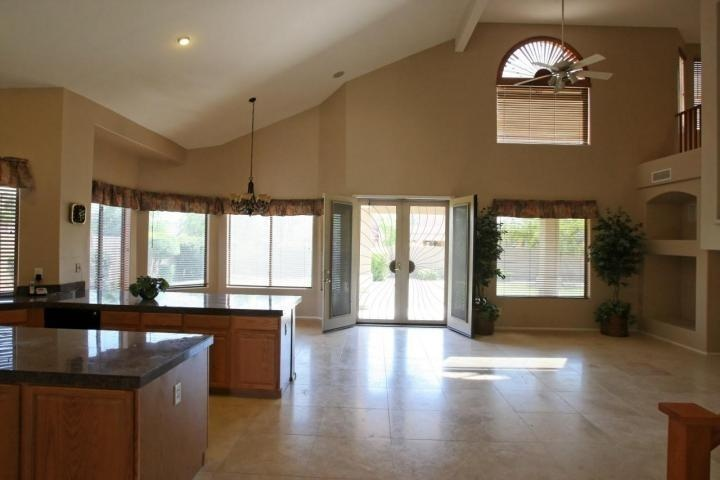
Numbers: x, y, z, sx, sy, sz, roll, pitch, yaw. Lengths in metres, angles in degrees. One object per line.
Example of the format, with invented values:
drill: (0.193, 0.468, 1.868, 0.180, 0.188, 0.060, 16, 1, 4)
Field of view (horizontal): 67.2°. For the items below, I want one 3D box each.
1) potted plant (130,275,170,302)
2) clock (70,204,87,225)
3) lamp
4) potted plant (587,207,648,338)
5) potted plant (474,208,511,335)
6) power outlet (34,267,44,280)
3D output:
potted plant: (-3.235, 0.734, 8.309, 0.415, 0.253, 0.427, 0, -3, -12)
clock: (-4.693, -0.438, 9.005, 0.065, 0.304, 0.339, -5, -1, 14)
lamp: (-2.288, -1.650, 11.191, 0.713, 2.524, 2.343, -1, 10, -11)
potted plant: (5.382, 0.663, 11.407, 1.019, 2.521, 0.903, -4, 10, -24)
potted plant: (2.701, 0.635, 11.392, 0.597, 2.557, 0.882, 3, 10, 15)
power outlet: (-5.149, 0.539, 8.692, 0.126, 0.207, 0.065, -3, 10, -22)
